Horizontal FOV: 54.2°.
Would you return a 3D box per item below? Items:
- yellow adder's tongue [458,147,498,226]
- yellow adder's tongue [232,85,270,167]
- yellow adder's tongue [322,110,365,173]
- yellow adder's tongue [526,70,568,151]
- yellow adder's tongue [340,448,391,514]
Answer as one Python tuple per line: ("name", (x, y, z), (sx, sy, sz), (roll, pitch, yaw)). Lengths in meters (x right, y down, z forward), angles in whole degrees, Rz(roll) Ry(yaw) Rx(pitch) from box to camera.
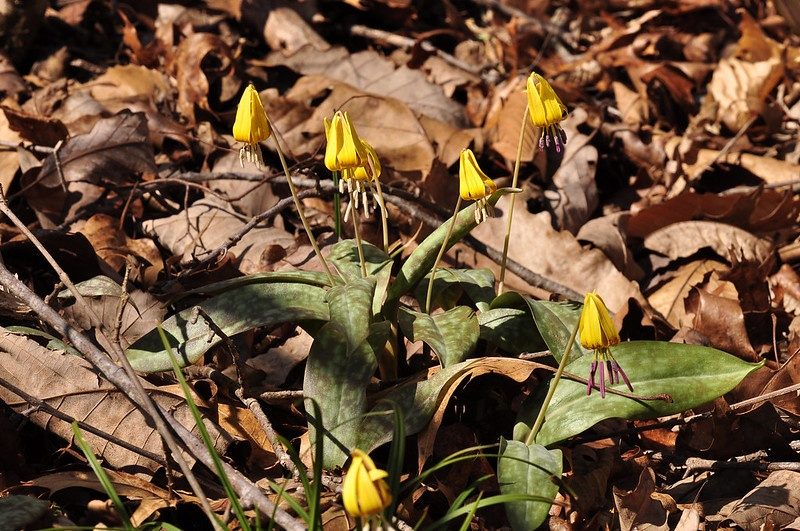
("yellow adder's tongue", (0.411, -0.432, 4.189), (0.147, 0.396, 0.149), (-15, 1, -18))
("yellow adder's tongue", (-0.803, -0.745, 4.266), (0.201, 0.521, 0.341), (-5, 24, -11))
("yellow adder's tongue", (-0.299, -0.635, 4.096), (0.194, 0.289, 0.191), (-16, 4, -36))
("yellow adder's tongue", (0.790, -0.848, 4.302), (0.130, 0.421, 0.146), (-21, 9, -20))
("yellow adder's tongue", (-0.131, 1.006, 3.520), (0.182, 0.178, 0.252), (-7, 61, -20))
